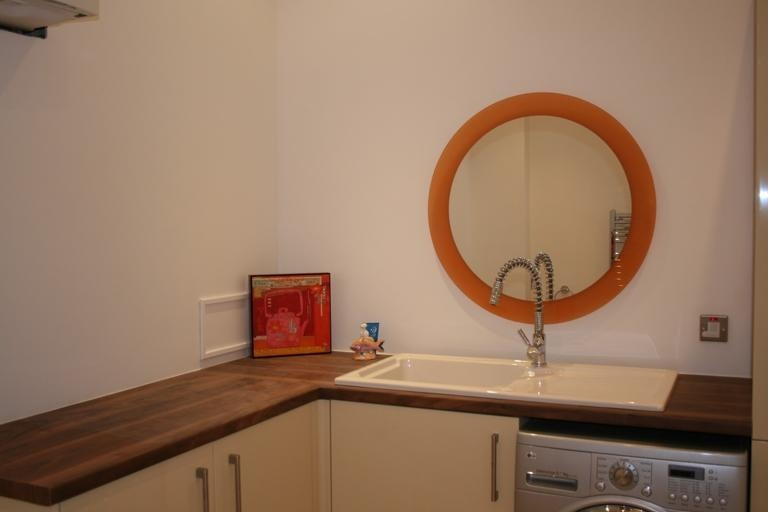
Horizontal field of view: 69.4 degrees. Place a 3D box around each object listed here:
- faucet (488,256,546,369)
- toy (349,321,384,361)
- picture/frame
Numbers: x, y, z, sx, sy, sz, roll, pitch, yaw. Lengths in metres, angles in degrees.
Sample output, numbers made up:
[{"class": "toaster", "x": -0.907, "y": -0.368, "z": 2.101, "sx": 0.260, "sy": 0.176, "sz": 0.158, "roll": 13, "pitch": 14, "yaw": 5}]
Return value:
[{"class": "faucet", "x": 0.640, "y": 0.246, "z": 2.571, "sx": 0.251, "sy": 0.512, "sz": 0.337, "roll": 2, "pitch": 7, "yaw": 17}, {"class": "toy", "x": -0.083, "y": 0.438, "z": 2.819, "sx": 0.132, "sy": 0.205, "sz": 0.195, "roll": 0, "pitch": -1, "yaw": 24}, {"class": "picture/frame", "x": -0.508, "y": 0.315, "z": 2.892, "sx": 0.420, "sy": 0.425, "sz": 0.060, "roll": 1, "pitch": -2, "yaw": -18}]
